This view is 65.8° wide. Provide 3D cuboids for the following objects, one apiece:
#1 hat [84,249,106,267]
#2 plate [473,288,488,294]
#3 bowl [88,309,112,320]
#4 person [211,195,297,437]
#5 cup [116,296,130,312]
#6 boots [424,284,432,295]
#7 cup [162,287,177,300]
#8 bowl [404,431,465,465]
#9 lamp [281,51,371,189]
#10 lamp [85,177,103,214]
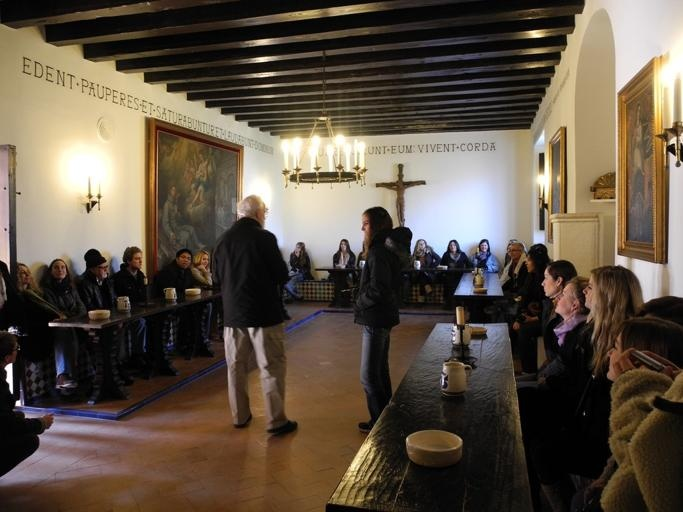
[{"bbox_3d":[-3.257,0.032,7.005,0.233,0.256,0.215,-8,6,-16],"label":"hat"},{"bbox_3d":[1.972,0.499,7.459,0.144,0.050,0.090,-1,5,-1],"label":"plate"},{"bbox_3d":[-2.607,0.634,5.662,0.212,0.096,0.158,-2,5,-14],"label":"bowl"},{"bbox_3d":[-0.818,0.555,5.052,0.769,2.242,0.454,0,4,0],"label":"person"},{"bbox_3d":[-2.535,0.559,6.220,0.160,0.168,0.167,2,6,0],"label":"cup"},{"bbox_3d":[1.967,0.761,11.967,0.104,0.217,0.215,3,-36,-6],"label":"boots"},{"bbox_3d":[-2.283,0.509,7.042,0.177,0.174,0.150,1,3,-15],"label":"cup"},{"bbox_3d":[0.479,0.991,2.703,0.174,0.076,0.179,-5,7,1],"label":"bowl"},{"bbox_3d":[-0.281,-2.434,9.299,1.525,2.889,1.634,0,-4,-4],"label":"lamp"},{"bbox_3d":[-3.439,-0.842,7.330,0.215,0.510,0.312,-2,5,-26],"label":"lamp"}]
